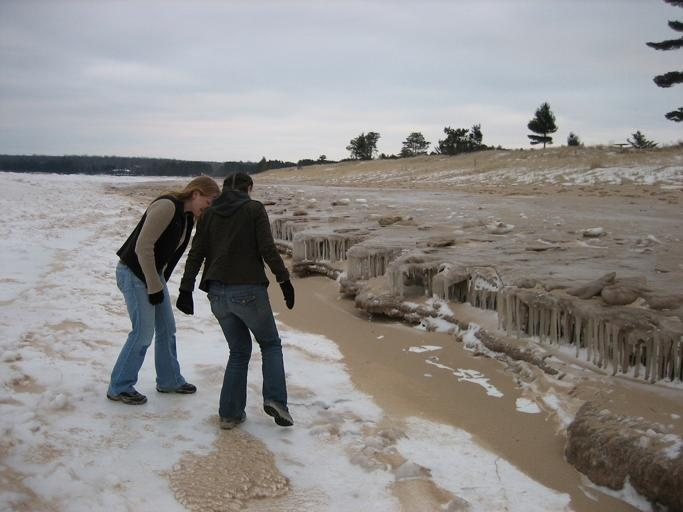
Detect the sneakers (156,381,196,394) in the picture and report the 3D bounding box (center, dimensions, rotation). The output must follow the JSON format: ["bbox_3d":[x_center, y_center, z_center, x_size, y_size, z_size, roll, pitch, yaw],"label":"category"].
[{"bbox_3d":[-1.688,1.374,5.223,0.381,0.151,0.138,-1,2,-12],"label":"sneakers"}]

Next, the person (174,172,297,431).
[{"bbox_3d":[-0.910,0.440,4.747,1.273,2.343,0.516,14,12,17],"label":"person"}]

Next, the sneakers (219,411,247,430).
[{"bbox_3d":[-1.018,1.543,4.799,0.093,0.093,0.225,3,7,25],"label":"sneakers"}]

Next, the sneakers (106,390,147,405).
[{"bbox_3d":[-2.019,1.352,4.891,0.384,0.158,0.135,2,1,-5],"label":"sneakers"}]

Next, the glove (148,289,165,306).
[{"bbox_3d":[-1.738,0.391,4.798,0.153,0.127,0.128,-4,9,11],"label":"glove"}]

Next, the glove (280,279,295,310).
[{"bbox_3d":[-0.494,0.356,4.753,0.229,0.267,0.085,5,-1,11],"label":"glove"}]
